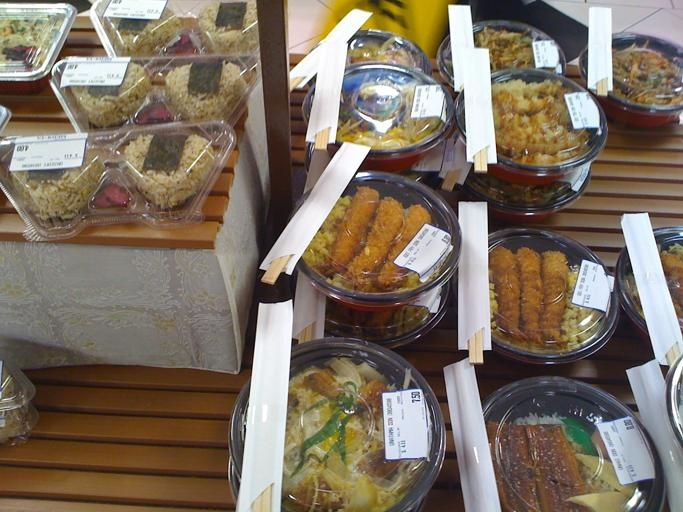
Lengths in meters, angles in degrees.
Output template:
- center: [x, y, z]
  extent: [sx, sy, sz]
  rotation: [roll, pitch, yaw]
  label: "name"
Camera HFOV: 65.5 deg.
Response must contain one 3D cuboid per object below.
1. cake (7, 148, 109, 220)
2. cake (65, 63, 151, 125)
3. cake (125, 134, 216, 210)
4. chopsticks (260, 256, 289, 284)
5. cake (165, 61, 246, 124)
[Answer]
- center: [-0.691, -0.162, 1.312]
  extent: [0.162, 0.064, 0.181]
  rotation: [-9, 77, -2]
  label: "cake"
- center: [-0.630, -0.442, 1.421]
  extent: [0.143, 0.083, 0.200]
  rotation: [-15, 44, 2]
  label: "cake"
- center: [-0.445, -0.218, 1.368]
  extent: [0.228, 0.081, 0.196]
  rotation: [-1, 52, 0]
  label: "cake"
- center: [-0.166, 0.035, 1.348]
  extent: [0.027, 0.019, 0.089]
  rotation: [10, 36, 19]
  label: "chopsticks"
- center: [-0.389, -0.468, 1.523]
  extent: [0.220, 0.090, 0.183]
  rotation: [6, 53, 5]
  label: "cake"
